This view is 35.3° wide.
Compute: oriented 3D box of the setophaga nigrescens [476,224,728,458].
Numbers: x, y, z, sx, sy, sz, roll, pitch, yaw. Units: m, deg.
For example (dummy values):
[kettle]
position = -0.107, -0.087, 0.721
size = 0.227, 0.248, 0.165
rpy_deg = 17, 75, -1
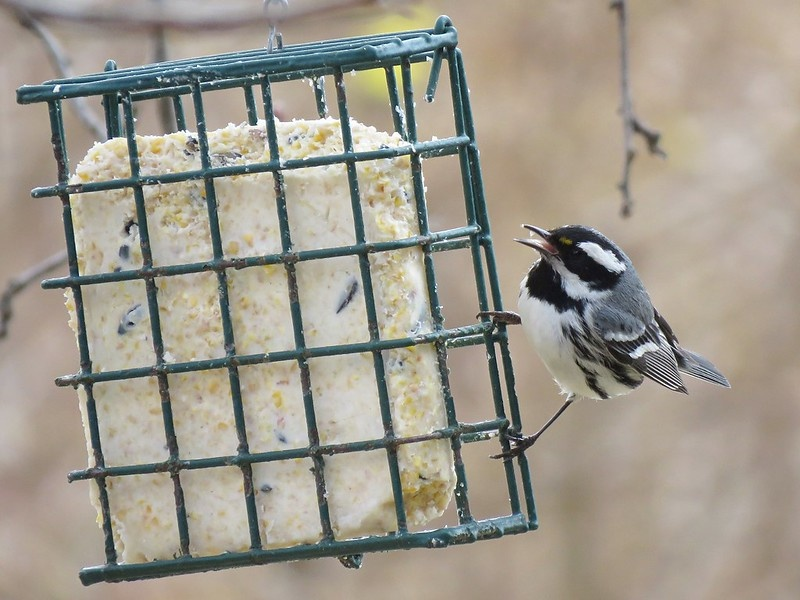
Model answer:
[setophaga nigrescens]
position = 1.276, 0.189, 7.525
size = 1.491, 0.756, 1.426
rpy_deg = -6, -70, -16
